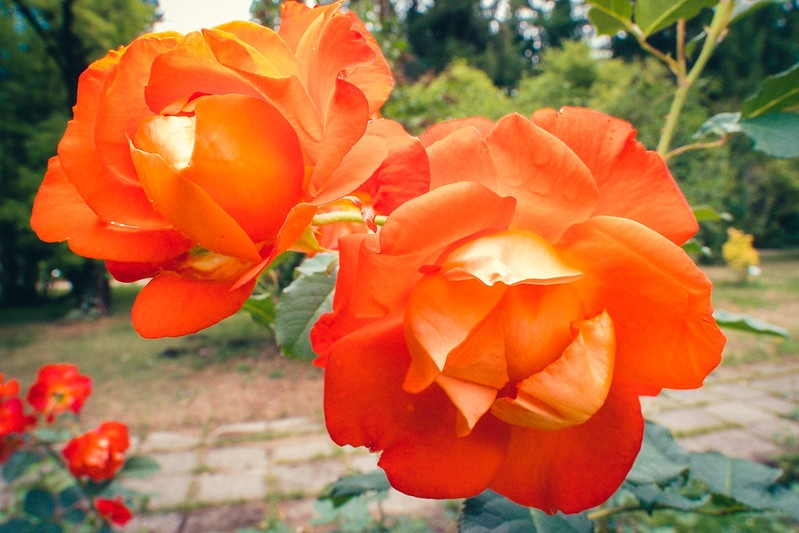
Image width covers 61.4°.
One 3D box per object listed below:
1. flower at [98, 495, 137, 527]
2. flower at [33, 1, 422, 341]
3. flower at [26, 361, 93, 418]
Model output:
[{"bbox_3d":[-0.751,0.638,1.775,0.106,0.069,0.026,6,17,26],"label":"flower"},{"bbox_3d":[-0.344,-0.271,1.668,0.743,0.699,0.416,-34,5,10],"label":"flower"},{"bbox_3d":[-0.932,0.332,1.835,0.145,0.128,0.072,-7,35,-2],"label":"flower"}]
